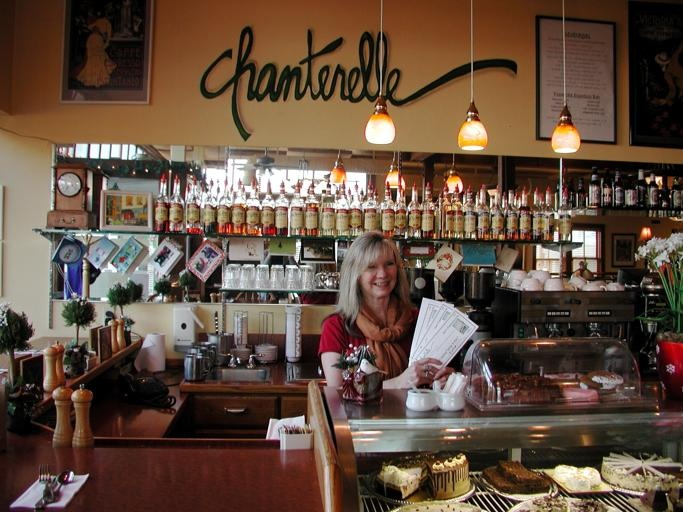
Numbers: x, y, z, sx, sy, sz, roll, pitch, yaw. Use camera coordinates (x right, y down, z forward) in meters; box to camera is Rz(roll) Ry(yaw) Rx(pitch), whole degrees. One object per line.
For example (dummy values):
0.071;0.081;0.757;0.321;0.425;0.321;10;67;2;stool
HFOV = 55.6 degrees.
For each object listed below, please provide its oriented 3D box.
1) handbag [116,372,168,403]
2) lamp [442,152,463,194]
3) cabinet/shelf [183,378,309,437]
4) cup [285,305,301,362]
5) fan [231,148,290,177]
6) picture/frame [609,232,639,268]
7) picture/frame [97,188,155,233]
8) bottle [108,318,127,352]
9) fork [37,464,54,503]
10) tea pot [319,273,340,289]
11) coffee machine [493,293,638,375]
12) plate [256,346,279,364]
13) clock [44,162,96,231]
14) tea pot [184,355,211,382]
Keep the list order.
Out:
-1.259;0.846;4.107;0.237;0.116;0.184;7;3;-11;handbag
0.855;-0.609;4.886;0.197;0.270;0.200;1;11;4;lamp
-0.596;1.080;4.514;0.775;0.535;0.438;0;21;5;cabinet/shelf
-0.352;0.574;4.744;0.103;0.413;0.094;-2;-1;0;cup
-0.590;-0.705;4.770;0.250;0.135;0.273;3;1;17;fan
2.162;-0.040;4.939;0.175;0.244;0.008;1;0;22;picture/frame
-1.540;-0.314;4.621;0.306;0.267;0.031;0;-2;-9;picture/frame
-1.513;0.537;4.369;0.085;0.272;0.207;-1;-3;-3;bottle
-1.279;0.979;2.828;0.046;0.042;0.306;-14;21;-13;fork
-0.091;0.184;4.835;0.129;0.089;0.130;0;2;0;tea pot
1.538;0.539;4.607;0.946;0.462;0.632;3;-11;-19;coffee machine
-0.537;0.718;4.750;0.127;0.113;0.131;-3;-6;41;plate
-1.908;-0.419;4.629;0.302;0.464;0.270;1;0;3;clock
-0.973;0.755;4.351;0.199;0.201;0.117;1;-3;-7;tea pot
